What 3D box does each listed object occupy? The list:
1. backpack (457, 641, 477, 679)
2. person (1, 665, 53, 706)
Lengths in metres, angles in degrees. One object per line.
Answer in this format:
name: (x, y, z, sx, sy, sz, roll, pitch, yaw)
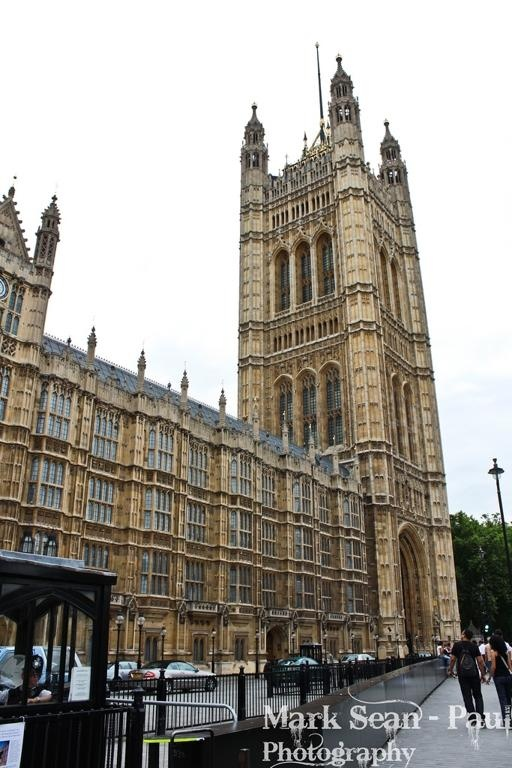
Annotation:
backpack: (3.907, 5.122, 10.822, 0.384, 0.556, 0.428, -12, -24, 24)
person: (-2.317, 3.068, 5.920, 0.113, 0.347, 0.709, -8, -24, 18)
